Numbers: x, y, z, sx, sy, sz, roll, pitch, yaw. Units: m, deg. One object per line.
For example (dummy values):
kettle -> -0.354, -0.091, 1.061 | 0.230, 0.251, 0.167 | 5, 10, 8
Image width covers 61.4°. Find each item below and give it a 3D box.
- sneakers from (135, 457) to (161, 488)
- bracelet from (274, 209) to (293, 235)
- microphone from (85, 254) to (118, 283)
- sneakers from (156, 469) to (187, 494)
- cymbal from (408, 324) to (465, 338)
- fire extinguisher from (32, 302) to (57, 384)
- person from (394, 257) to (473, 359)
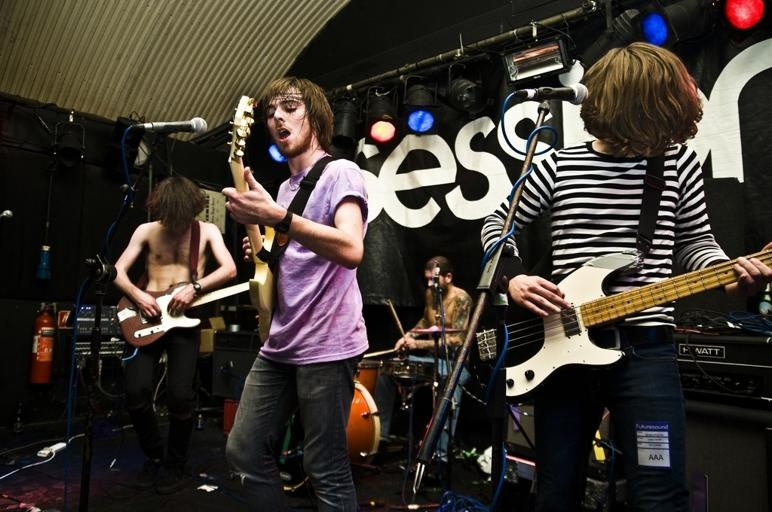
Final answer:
sneakers -> -2.101, 1.927, 5.751 | 0.203, 0.250, 0.120 | 6, -7, -21
bracelet -> -0.619, -0.206, 4.059 | 0.082, 0.160, 0.159 | 5, 8, -7
microphone -> -2.113, 0.099, 4.829 | 0.209, 0.213, 0.167 | 6, -7, -21
sneakers -> -1.901, 2.002, 5.791 | 0.262, 0.184, 0.347 | 5, -7, -17
cymbal -> 0.441, 0.728, 6.141 | 0.318, 0.072, 0.335 | -4, -4, 23
fire extinguisher -> -4.046, 1.047, 7.699 | 0.228, 0.971, 0.288 | 6, -7, -29
person -> 0.524, 0.581, 6.910 | 0.711, 1.085, 0.838 | 1, 2, 29
